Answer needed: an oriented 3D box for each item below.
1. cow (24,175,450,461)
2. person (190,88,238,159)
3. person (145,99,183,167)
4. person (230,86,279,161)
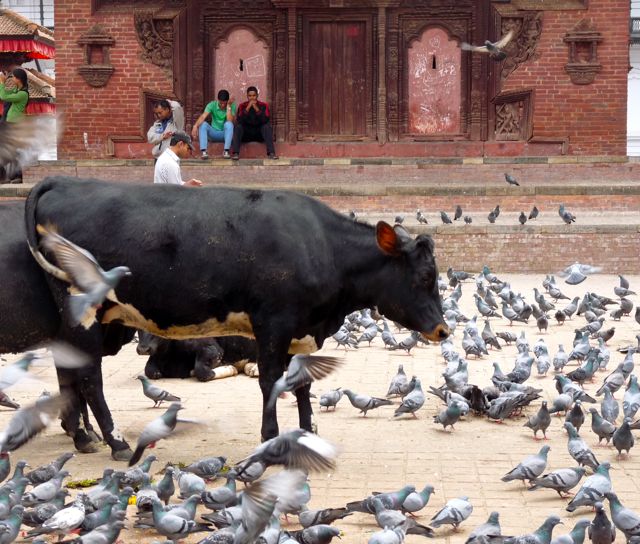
[{"bbox_3d":[-0.948,0.424,16.335,4.489,2.460,1.533,3,8,2],"label":"cow"},{"bbox_3d":[-2.158,-3.105,31.241,0.786,1.377,1.285,6,9,12],"label":"person"},{"bbox_3d":[-2.307,-1.796,21.974,0.493,1.445,0.457,13,13,32],"label":"person"},{"bbox_3d":[-0.859,-3.029,31.403,1.163,1.976,1.475,0,2,-4],"label":"person"}]
